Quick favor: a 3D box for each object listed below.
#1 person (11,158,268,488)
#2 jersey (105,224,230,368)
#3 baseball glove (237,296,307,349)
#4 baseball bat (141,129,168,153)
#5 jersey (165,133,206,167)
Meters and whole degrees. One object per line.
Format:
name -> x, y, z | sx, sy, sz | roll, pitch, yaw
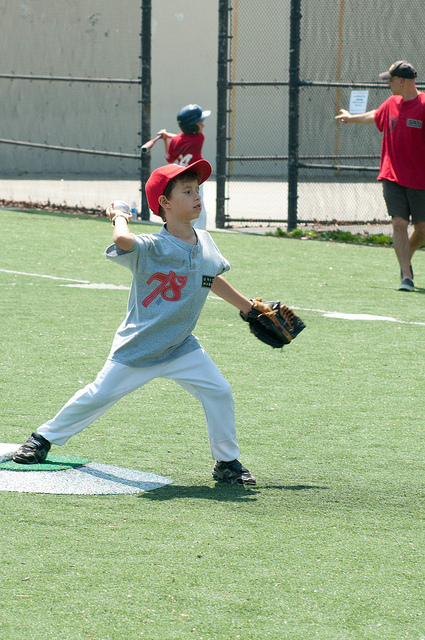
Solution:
person -> -0.202, -0.198, 5.222 | 1.229, 1.526, 0.879 | 9, 12, 29
jersey -> -0.181, -0.098, 4.677 | 0.659, 0.568, 0.315 | -10, 18, -44
baseball glove -> 0.240, 0.015, 4.900 | 0.272, 0.135, 0.177 | 38, 3, -6
baseball bat -> -0.533, -1.545, 10.882 | 0.101, 0.071, 0.512 | 24, 30, 1
jersey -> -0.207, -1.359, 9.876 | 0.269, 0.250, 0.510 | 0, 11, -9
